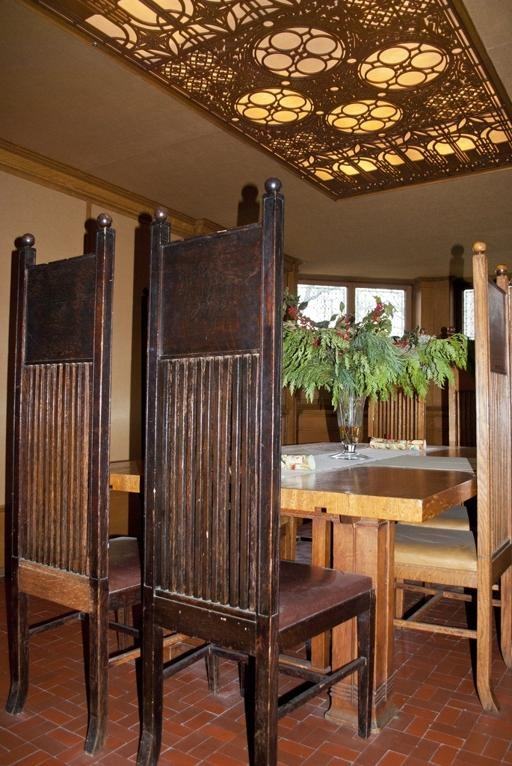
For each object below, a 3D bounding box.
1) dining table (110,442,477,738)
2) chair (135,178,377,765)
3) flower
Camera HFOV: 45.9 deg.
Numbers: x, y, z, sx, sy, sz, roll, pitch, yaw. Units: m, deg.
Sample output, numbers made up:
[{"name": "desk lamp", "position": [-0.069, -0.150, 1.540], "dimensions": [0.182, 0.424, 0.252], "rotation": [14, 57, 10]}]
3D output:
[{"name": "dining table", "position": [0.324, 0.396, 1.751], "dimensions": [0.886, 0.557, 0.900], "rotation": [0, 2, 33]}, {"name": "chair", "position": [-0.066, 0.265, 1.383], "dimensions": [0.514, 1.297, 0.571], "rotation": [1, 2, 28]}, {"name": "flower", "position": [0.460, -0.104, 2.453], "dimensions": [0.630, 0.539, 0.575], "rotation": [8, 1, 16]}]
